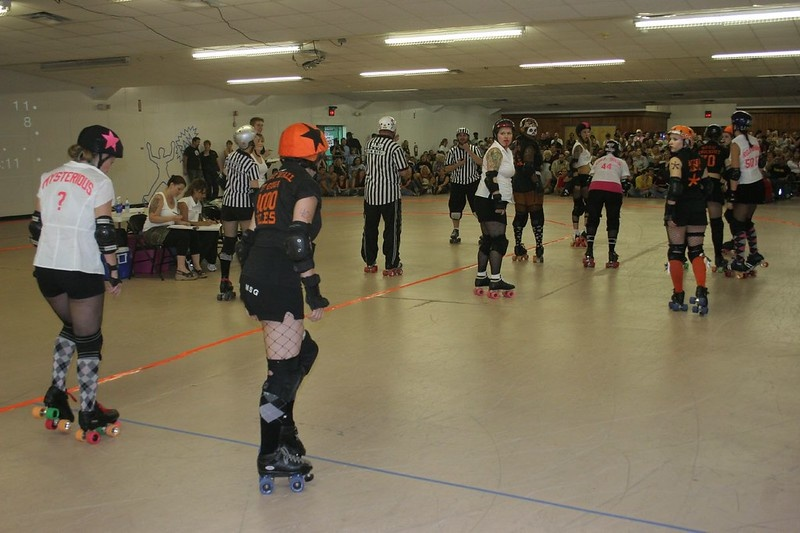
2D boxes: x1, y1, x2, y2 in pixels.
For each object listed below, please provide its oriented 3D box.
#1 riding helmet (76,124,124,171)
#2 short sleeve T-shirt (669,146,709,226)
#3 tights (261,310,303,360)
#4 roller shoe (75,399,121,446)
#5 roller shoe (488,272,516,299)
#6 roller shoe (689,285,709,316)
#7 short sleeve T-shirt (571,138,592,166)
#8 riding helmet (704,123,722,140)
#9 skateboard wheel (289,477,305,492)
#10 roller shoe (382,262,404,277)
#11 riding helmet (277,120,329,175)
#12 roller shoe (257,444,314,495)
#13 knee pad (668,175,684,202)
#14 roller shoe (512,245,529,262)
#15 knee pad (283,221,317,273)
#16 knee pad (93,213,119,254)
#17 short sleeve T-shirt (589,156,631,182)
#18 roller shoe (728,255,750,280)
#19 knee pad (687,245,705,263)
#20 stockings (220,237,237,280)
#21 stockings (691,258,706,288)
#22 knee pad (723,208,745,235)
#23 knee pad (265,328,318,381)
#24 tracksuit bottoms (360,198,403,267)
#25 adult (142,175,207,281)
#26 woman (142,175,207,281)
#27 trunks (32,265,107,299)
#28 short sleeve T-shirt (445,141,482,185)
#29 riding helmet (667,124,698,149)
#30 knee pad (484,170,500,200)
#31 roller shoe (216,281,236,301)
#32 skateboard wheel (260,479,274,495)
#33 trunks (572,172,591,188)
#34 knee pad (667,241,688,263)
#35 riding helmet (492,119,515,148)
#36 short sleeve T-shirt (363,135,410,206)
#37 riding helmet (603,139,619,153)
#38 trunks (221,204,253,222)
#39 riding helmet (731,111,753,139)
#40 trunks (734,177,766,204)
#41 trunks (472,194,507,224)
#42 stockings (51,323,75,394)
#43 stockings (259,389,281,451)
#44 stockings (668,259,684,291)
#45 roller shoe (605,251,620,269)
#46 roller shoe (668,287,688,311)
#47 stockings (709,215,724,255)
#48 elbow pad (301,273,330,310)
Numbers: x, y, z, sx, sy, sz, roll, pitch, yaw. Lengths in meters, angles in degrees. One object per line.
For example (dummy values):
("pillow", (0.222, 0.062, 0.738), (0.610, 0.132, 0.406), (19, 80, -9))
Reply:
("riding helmet", (-2.124, -0.858, 4.387), (0.353, 0.378, 0.307), (-10, 19, -32))
("short sleeve T-shirt", (3.022, -0.826, 6.511), (0.411, 0.818, 0.344), (2, 13, 13))
("tights", (-0.739, 0.464, 3.778), (0.270, 0.273, 0.251), (-9, -14, -16))
("roller shoe", (-2.077, 1.080, 4.288), (0.181, 0.253, 0.383), (4, 8, 31))
("roller shoe", (1.200, 0.241, 7.306), (0.316, 0.244, 0.300), (1, 12, 9))
("roller shoe", (3.122, 0.383, 6.432), (0.162, 0.183, 0.312), (2, 12, 20))
("short sleeve T-shirt", (2.819, -1.735, 9.610), (0.265, 0.392, 0.270), (2, 13, 14))
("riding helmet", (4.078, -1.727, 8.022), (0.191, 0.203, 0.468), (5, 13, 26))
("skateboard wheel", (-0.627, 1.328, 3.731), (0.061, 0.063, 0.076), (33, -8, -6))
("roller shoe", (-0.099, 0.060, 8.456), (0.128, 0.144, 0.322), (6, 15, 28))
("riding helmet", (-0.591, -0.726, 3.813), (0.278, 0.306, 0.335), (15, 20, 37))
("roller shoe", (-0.696, 1.260, 3.836), (0.333, 0.226, 0.228), (-2, 6, -5))
("knee pad", (2.860, -0.796, 6.429), (0.121, 0.245, 0.184), (1, -16, 12))
("roller shoe", (1.822, -0.195, 9.352), (0.214, 0.233, 0.284), (1, 13, 9))
("knee pad", (-0.553, -0.089, 3.636), (0.254, 0.331, 0.150), (-10, -6, 36))
("knee pad", (-1.970, -0.203, 4.167), (0.188, 0.245, 0.112), (0, 28, -12))
("short sleeve T-shirt", (2.934, -1.355, 8.648), (0.487, 0.396, 0.330), (2, 13, 16))
("roller shoe", (4.381, 0.016, 7.925), (0.265, 0.260, 0.187), (5, 14, 26))
("knee pad", (3.183, -0.137, 6.631), (0.192, 0.268, 0.222), (3, 8, 26))
("stockings", (-2.124, -0.064, 7.602), (0.160, 0.650, 0.212), (8, 23, -24))
("stockings", (3.169, 0.064, 6.502), (0.132, 0.315, 0.149), (-3, 13, -5))
("knee pad", (4.410, -0.595, 8.139), (0.157, 0.324, 0.574), (2, 13, 15))
("knee pad", (-0.676, 0.561, 3.908), (0.187, 0.266, 0.269), (6, 43, 1))
("tracksuit bottoms", (-0.251, -0.438, 8.567), (0.577, 0.947, 0.365), (9, 17, 40))
("adult", (-3.135, -0.519, 8.435), (0.755, 1.401, 0.585), (-4, 13, -9))
("woman", (-3.128, -0.519, 8.436), (0.742, 1.401, 0.585), (-4, 13, -9))
("trunks", (-2.223, 0.074, 4.113), (0.366, 0.238, 0.249), (6, 16, 12))
("short sleeve T-shirt", (1.123, -1.787, 10.849), (0.819, 0.805, 0.472), (5, 0, 12))
("riding helmet", (3.050, -1.384, 6.626), (0.329, 0.286, 0.248), (5, 9, 0))
("knee pad", (0.977, -0.894, 6.829), (0.135, 0.281, 0.211), (-1, 21, 0))
("roller shoe", (-2.103, 0.318, 7.431), (0.120, 0.201, 0.222), (-1, 6, 19))
("skateboard wheel", (-0.805, 1.334, 3.705), (0.074, 0.067, 0.083), (-30, 7, -4))
("trunks", (2.816, -1.333, 9.622), (0.250, 0.186, 0.219), (6, 11, 13))
("knee pad", (2.985, -0.143, 6.637), (0.243, 0.236, 0.198), (3, 11, 31))
("riding helmet", (1.177, -1.516, 7.130), (0.272, 0.311, 0.327), (-2, -5, -6))
("short sleeve T-shirt", (-0.205, -1.315, 8.450), (0.569, 0.949, 0.410), (-2, 13, -2))
("riding helmet", (2.983, -1.658, 8.660), (0.216, 0.205, 0.157), (1, 5, -29))
("trunks", (-1.949, -0.610, 7.303), (0.328, 0.226, 0.195), (6, 32, 3))
("riding helmet", (4.312, -1.793, 7.805), (0.207, 0.317, 0.596), (5, 14, 26))
("trunks", (4.436, -0.915, 7.864), (0.440, 0.303, 0.305), (1, 16, 14))
("trunks", (1.004, -0.623, 6.936), (0.302, 0.499, 0.361), (-4, 21, 14))
("stockings", (-2.382, 0.679, 4.349), (0.090, 0.292, 0.077), (4, -7, 28))
("stockings", (-0.775, 0.941, 3.685), (0.150, 0.385, 0.085), (-5, 13, -15))
("stockings", (2.931, 0.113, 6.574), (0.136, 0.346, 0.102), (3, 14, 20))
("roller shoe", (3.016, -0.100, 8.741), (0.178, 0.242, 0.363), (3, 13, 20))
("roller shoe", (2.965, 0.387, 6.587), (0.129, 0.134, 0.251), (-1, 1, 13))
("stockings", (4.186, -0.401, 8.189), (0.170, 0.511, 0.261), (5, 14, 25))
("elbow pad", (-0.525, 0.148, 3.726), (0.134, 0.223, 0.361), (-4, 12, -10))
